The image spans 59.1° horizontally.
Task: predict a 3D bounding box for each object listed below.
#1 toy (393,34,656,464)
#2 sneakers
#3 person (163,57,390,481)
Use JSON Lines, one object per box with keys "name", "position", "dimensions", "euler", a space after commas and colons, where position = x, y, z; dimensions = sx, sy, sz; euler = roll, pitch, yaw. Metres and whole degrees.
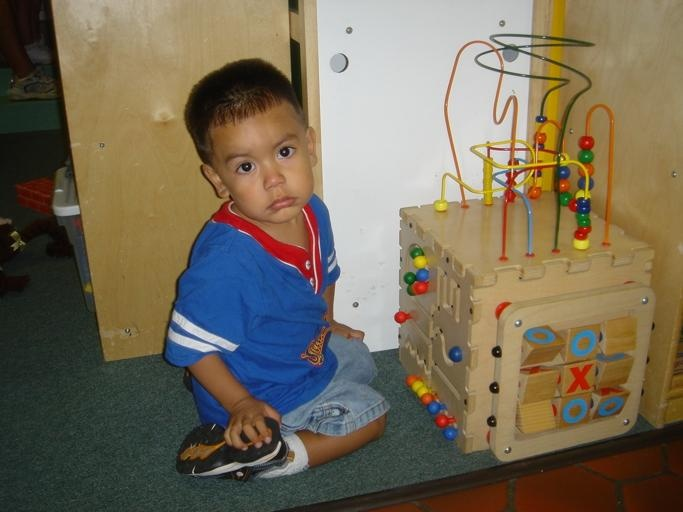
{"name": "toy", "position": [0.458, -0.050, 1.568], "dimensions": [0.582, 0.985, 0.507], "euler": [-9, 21, -13]}
{"name": "sneakers", "position": [-0.271, 0.480, 1.487], "dimensions": [0.238, 0.076, 0.148], "euler": [-10, 49, 22]}
{"name": "person", "position": [-0.177, 0.031, 1.485], "dimensions": [0.558, 0.961, 0.404], "euler": [-12, 21, -20]}
